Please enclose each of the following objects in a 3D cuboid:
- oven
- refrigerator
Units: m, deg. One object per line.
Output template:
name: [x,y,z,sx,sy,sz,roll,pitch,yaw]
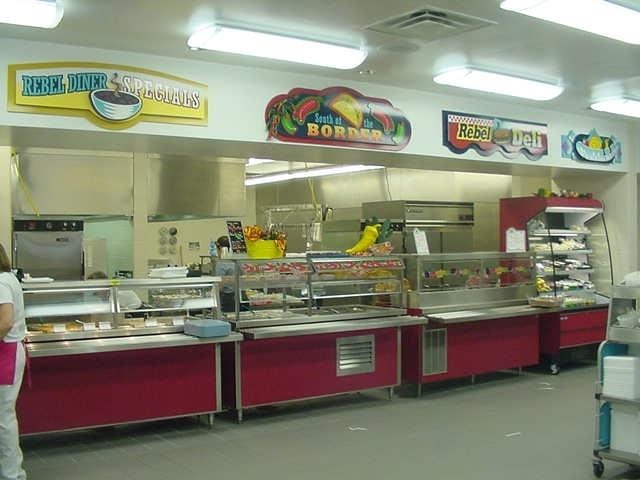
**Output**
oven: [-3.457,0.097,7.114,1.012,0.849,0.772,1,-3,-34]
refrigerator: [1.891,0.121,9.097,2.059,1.758,1.335,0,-4,-32]
